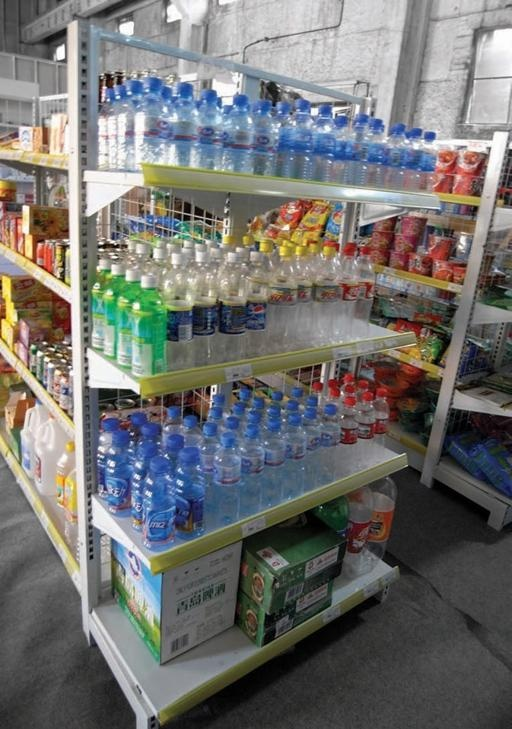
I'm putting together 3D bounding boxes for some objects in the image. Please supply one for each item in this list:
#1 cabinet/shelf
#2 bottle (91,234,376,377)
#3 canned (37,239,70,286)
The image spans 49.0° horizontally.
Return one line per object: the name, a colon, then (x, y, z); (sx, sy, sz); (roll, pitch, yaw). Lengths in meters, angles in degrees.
cabinet/shelf: (0.144, -0.388, 3.028); (1.897, 2.527, 2.669); (-10, 23, -30)
bottle: (-0.063, -0.226, 1.869); (1.036, 0.410, 0.460); (-18, 33, -41)
canned: (-0.772, -0.394, 2.169); (0.113, 0.196, 0.207); (-9, 20, -36)
